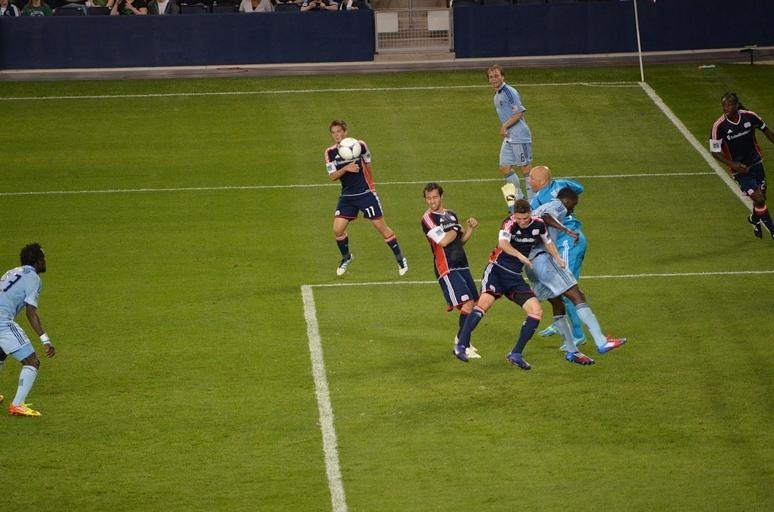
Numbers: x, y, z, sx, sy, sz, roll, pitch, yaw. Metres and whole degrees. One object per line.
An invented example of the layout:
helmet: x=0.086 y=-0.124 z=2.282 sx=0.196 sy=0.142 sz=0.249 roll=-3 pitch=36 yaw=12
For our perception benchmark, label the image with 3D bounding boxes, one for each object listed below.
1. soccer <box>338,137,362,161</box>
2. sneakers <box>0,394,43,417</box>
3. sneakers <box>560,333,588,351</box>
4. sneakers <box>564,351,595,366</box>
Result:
soccer: x=-0.788 y=-2.146 z=23.304 sx=0.478 sy=0.413 sz=0.461 roll=0 pitch=6 yaw=27
sneakers: x=-6.290 y=2.588 z=19.717 sx=0.641 sy=0.238 sz=0.218 roll=5 pitch=19 yaw=-1
sneakers: x=3.366 y=1.597 z=21.257 sx=0.623 sy=0.246 sz=0.206 roll=-13 pitch=4 yaw=-40
sneakers: x=3.413 y=1.834 z=20.576 sx=0.469 sy=0.173 sz=0.232 roll=3 pitch=15 yaw=24
